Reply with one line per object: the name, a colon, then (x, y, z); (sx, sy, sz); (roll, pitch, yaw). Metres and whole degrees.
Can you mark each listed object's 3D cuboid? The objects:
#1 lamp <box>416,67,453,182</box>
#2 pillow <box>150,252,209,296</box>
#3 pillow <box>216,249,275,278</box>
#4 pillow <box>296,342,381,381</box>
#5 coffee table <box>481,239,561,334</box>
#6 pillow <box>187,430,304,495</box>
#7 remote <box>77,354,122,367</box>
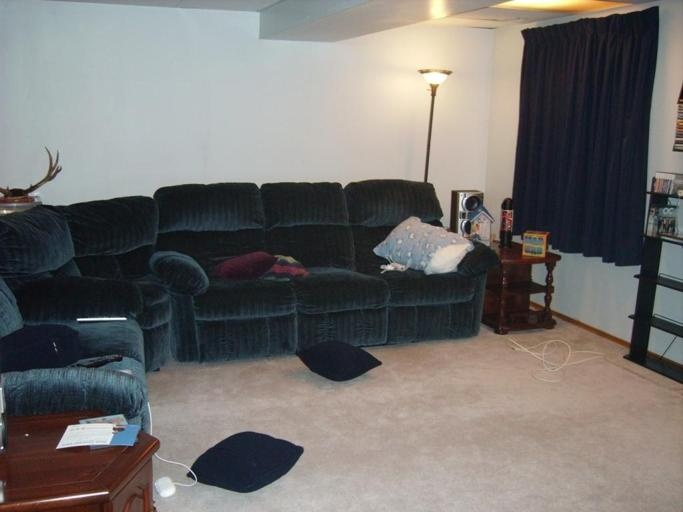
lamp: (0.884, -1.241, 5.296); (0.294, 1.083, 0.655); (1, 11, 9)
pillow: (-1.129, 0.126, 3.783); (0.433, 0.267, 0.226); (6, 13, 36)
pillow: (-0.706, 0.079, 4.081); (0.269, 0.064, 0.253); (-5, 14, -1)
pillow: (-0.023, 0.687, 3.721); (0.395, 0.150, 0.375); (-9, 13, -41)
coffee table: (1.456, 0.183, 4.810); (0.841, 0.707, 0.708); (-3, 8, -15)
pillow: (-0.469, 1.014, 2.757); (0.424, 0.126, 0.370); (4, 11, 24)
remote: (-1.164, 0.501, 2.676); (0.148, 0.027, 0.060); (-2, 10, -42)
